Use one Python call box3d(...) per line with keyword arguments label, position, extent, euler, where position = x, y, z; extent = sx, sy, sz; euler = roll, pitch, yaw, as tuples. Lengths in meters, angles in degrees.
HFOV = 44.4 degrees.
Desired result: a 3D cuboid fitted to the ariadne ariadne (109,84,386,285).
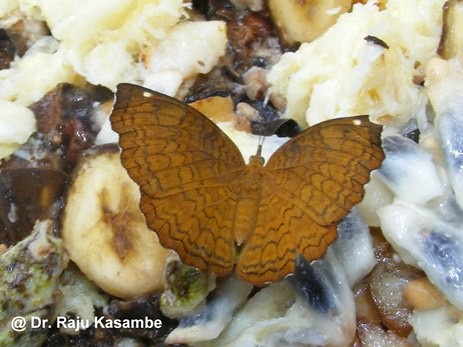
box3d(label="ariadne ariadne", position=(0.037, 0.047, 1.347), extent=(0.542, 0.060, 0.365), euler=(6, 94, 0))
